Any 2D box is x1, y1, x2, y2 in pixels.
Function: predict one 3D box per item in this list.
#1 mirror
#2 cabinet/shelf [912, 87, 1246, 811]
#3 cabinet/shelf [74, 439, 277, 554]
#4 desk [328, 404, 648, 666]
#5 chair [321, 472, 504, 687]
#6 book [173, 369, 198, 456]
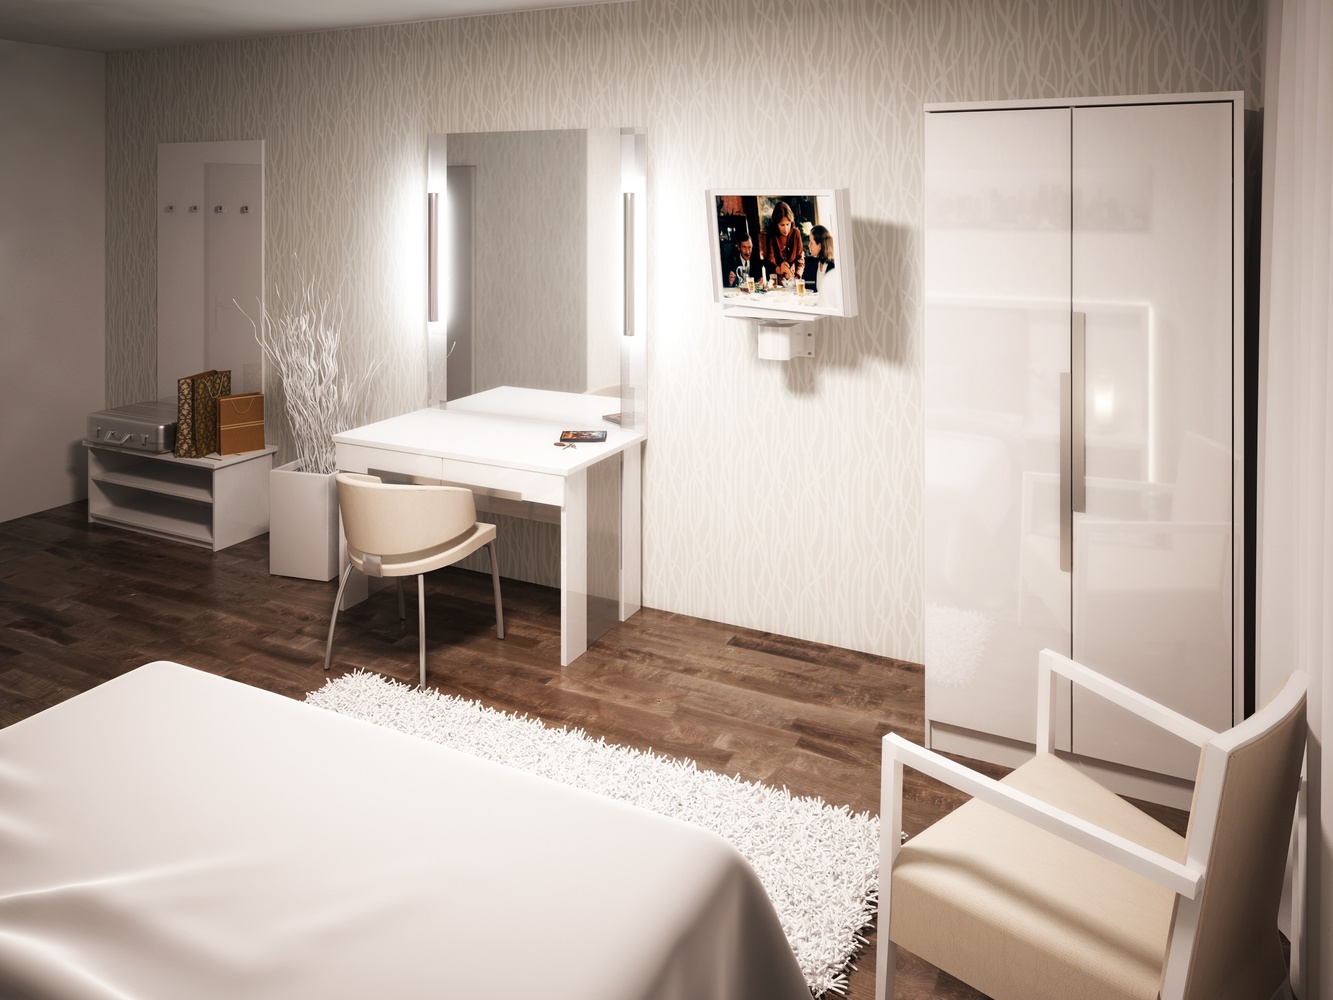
[{"bbox_3d":[-0.638,-1.101,4.717,1.236,1.773,0.059,4,7,23],"label":"mirror"},{"bbox_3d":[1.399,-0.168,3.392,0.891,2.313,0.235,1,-2,22],"label":"cabinet/shelf"},{"bbox_3d":[-2.821,-0.054,5.740,1.210,0.522,0.436,6,13,20],"label":"cabinet/shelf"},{"bbox_3d":[-0.738,-0.159,4.454,1.196,0.989,1.224,8,15,27],"label":"desk"},{"bbox_3d":[-1.119,0.257,4.297,0.761,0.875,0.726,-12,19,-37],"label":"chair"},{"bbox_3d":[-2.676,-0.458,5.467,0.075,0.356,0.329,2,10,-8],"label":"book"}]
